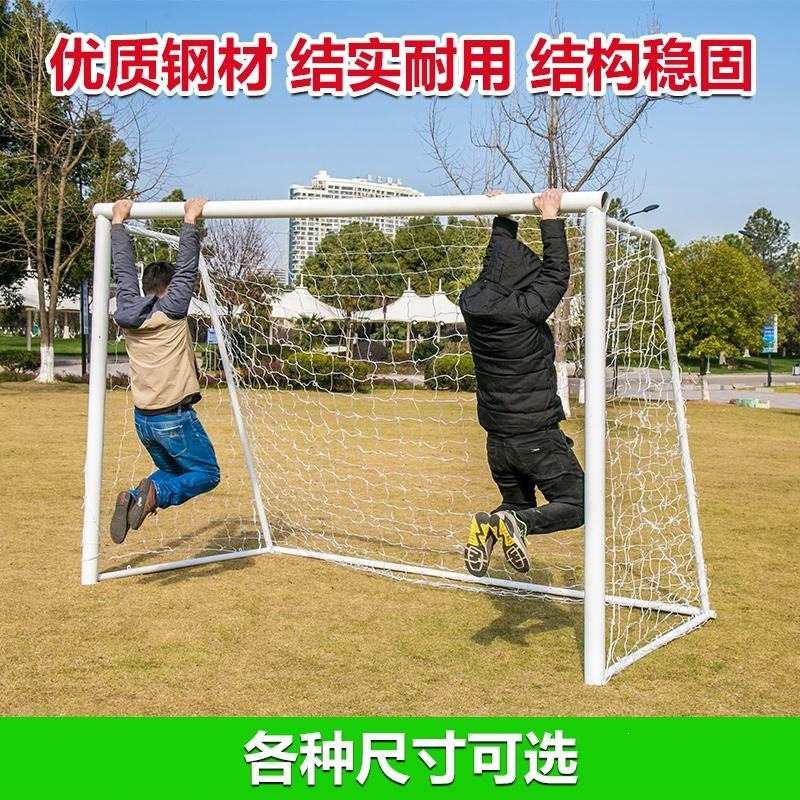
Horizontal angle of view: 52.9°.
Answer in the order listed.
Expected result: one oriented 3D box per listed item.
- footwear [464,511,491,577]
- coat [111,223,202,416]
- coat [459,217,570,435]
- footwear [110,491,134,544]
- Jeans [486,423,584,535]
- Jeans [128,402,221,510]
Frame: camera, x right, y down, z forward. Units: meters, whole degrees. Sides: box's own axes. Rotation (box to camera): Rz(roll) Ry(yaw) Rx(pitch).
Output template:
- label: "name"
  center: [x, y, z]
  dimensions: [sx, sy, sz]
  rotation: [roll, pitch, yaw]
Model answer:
- label: "footwear"
  center: [0.379, 0.705, 3.947]
  dimensions: [0.123, 0.322, 0.138]
  rotation: [-2, -17, 19]
- label: "coat"
  center: [-1.569, -0.523, 5.100]
  dimensions: [0.613, 1.164, 0.484]
  rotation: [2, 5, 8]
- label: "coat"
  center: [0.591, -0.370, 4.185]
  dimensions: [0.523, 1.109, 0.316]
  rotation: [2, 5, 4]
- label: "footwear"
  center: [-1.622, 0.692, 4.767]
  dimensions: [0.126, 0.329, 0.152]
  rotation: [7, -6, 12]
- label: "Jeans"
  center: [0.655, 0.426, 4.219]
  dimensions: [0.489, 0.588, 0.423]
  rotation: [1, -12, -44]
- label: "Jeans"
  center: [-1.485, 0.314, 5.169]
  dimensions: [0.443, 0.697, 0.483]
  rotation: [10, 26, 26]
